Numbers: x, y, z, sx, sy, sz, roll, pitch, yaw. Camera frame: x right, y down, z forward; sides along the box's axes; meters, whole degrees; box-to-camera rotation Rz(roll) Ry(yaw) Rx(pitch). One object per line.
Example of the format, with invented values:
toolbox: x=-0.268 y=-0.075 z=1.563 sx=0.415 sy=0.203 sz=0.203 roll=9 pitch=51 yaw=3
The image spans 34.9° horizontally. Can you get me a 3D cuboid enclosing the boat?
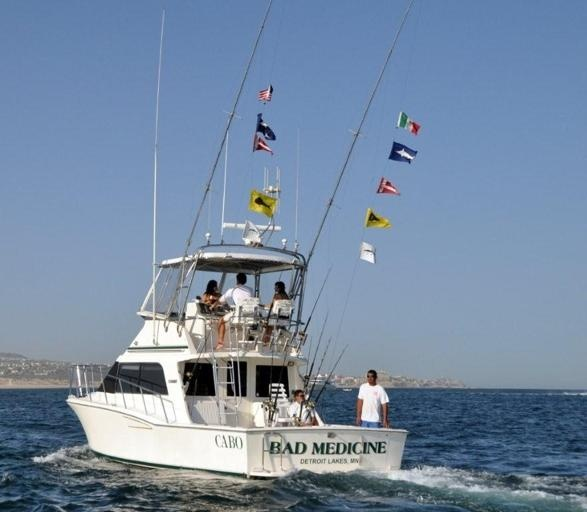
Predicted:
boat: x=-1.254 y=0.755 z=19.715 sx=3.362 sy=7.253 sz=6.095 roll=6 pitch=-9 yaw=-39

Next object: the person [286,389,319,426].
person: x=0.170 y=3.029 z=18.698 sx=0.604 sy=0.696 sz=1.044 roll=0 pitch=-7 yaw=5

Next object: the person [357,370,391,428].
person: x=1.568 y=2.872 z=18.708 sx=0.622 sy=1.134 sz=1.486 roll=0 pitch=-7 yaw=4
